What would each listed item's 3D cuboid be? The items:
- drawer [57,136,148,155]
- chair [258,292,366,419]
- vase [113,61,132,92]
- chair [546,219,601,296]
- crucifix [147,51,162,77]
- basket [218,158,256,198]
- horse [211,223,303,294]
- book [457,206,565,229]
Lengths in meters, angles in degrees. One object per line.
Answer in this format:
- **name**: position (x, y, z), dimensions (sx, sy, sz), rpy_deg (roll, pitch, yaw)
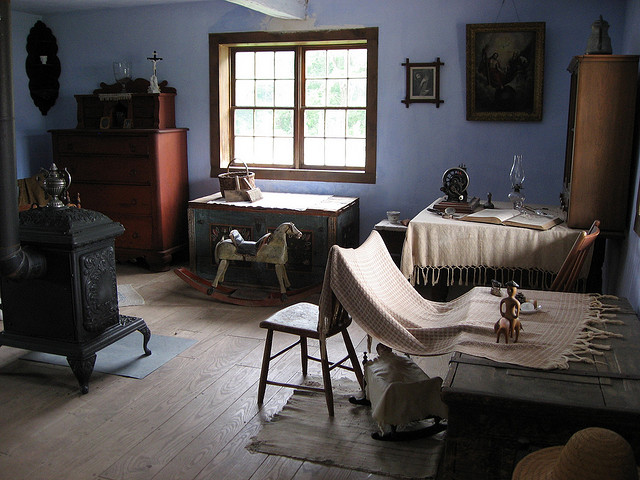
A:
- **drawer**: position (-2.649, -1.164, 5.820), dimensions (1.239, 0.213, 0.086), rpy_deg (4, 15, 17)
- **chair**: position (-0.041, 0.607, 3.216), dimensions (0.602, 0.967, 0.544), rpy_deg (2, 8, 29)
- **vase**: position (-2.577, -2.149, 6.248), dimensions (0.209, 0.399, 0.252), rpy_deg (-1, 14, -1)
- **chair**: position (1.697, 0.119, 3.162), dimensions (0.188, 0.464, 0.356), rpy_deg (13, 20, 43)
- **crucifix**: position (-2.101, -2.256, 6.094), dimensions (0.172, 0.330, 0.335), rpy_deg (-6, 15, -20)
- **basket**: position (-0.959, -0.807, 5.653), dimensions (0.314, 0.357, 0.315), rpy_deg (2, 5, 39)
- **horse**: position (-0.632, 0.201, 5.121), dimensions (0.690, 0.608, 0.216), rpy_deg (2, 12, 6)
- **book**: position (1.589, -0.191, 3.942), dimensions (0.761, 0.066, 0.541), rpy_deg (8, 17, 30)
